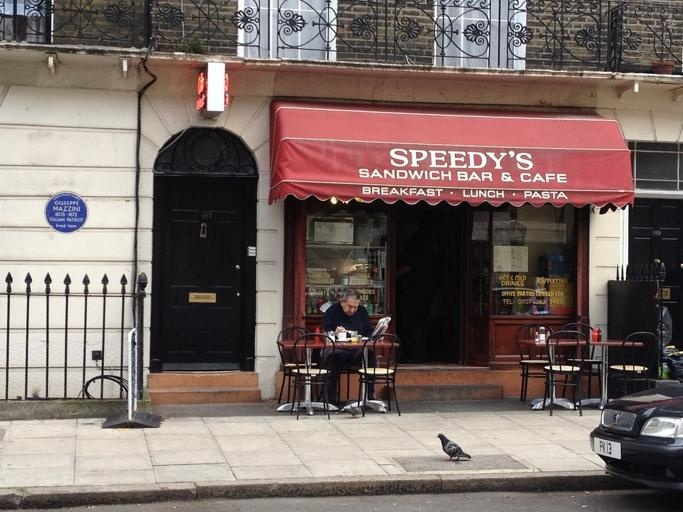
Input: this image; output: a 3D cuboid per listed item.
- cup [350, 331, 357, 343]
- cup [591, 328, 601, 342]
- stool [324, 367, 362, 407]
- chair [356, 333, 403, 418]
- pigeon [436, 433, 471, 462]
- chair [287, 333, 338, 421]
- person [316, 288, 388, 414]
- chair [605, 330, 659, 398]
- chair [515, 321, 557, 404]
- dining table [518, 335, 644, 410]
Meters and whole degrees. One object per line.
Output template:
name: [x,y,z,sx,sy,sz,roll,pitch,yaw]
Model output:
cup: [0.171,1.249,17.011,0.114,0.201,0.122,0,-10,0]
cup: [4.097,1.253,17.498,0.167,0.257,0.175,0,3,0]
stool: [0.022,2.049,17.442,0.360,0.781,0.388,-3,-2,28]
chair: [0.597,1.788,16.951,0.567,1.379,0.610,1,8,-2]
pigeon: [1.415,2.501,14.325,0.491,0.360,0.260,-1,-4,37]
chair: [-0.411,1.786,16.921,0.709,1.271,1.484,0,-1,-2]
person: [0.135,1.397,17.304,1.050,1.796,0.991,2,-2,-23]
chair: [4.654,1.802,17.427,0.535,1.063,0.655,-1,-11,-8]
chair: [3.200,1.731,17.854,0.688,1.195,0.763,-4,0,23]
dining table: [3.664,1.955,17.556,1.369,1.065,0.814,12,-6,-13]
